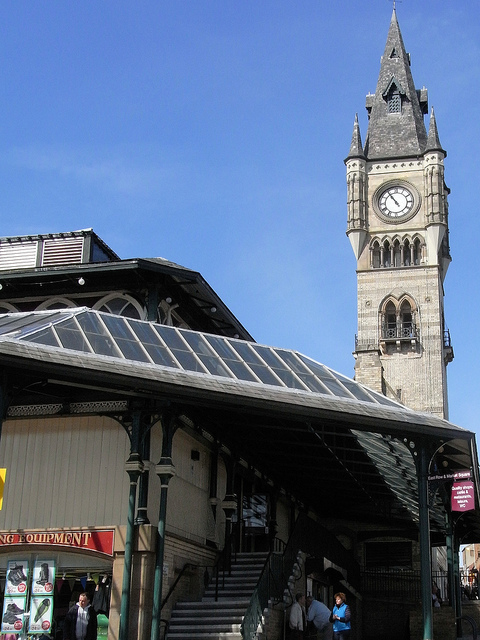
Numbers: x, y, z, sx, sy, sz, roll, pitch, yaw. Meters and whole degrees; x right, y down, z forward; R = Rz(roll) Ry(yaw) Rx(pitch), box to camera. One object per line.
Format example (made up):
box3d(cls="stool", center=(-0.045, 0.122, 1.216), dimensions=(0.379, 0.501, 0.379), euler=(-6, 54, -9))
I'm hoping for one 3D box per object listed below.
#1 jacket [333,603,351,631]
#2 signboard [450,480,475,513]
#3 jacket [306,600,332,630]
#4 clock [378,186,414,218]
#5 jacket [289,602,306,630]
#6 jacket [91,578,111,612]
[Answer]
box3d(cls="jacket", center=(1.916, 5.613, 19.276), dimensions=(0.355, 0.502, 0.282), euler=(-8, -20, 23))
box3d(cls="signboard", center=(5.062, 3.942, 22.957), dimensions=(0.385, 0.675, 0.811), euler=(10, -21, -26))
box3d(cls="jacket", center=(1.539, 5.765, 19.998), dimensions=(0.422, 0.655, 0.578), euler=(-19, -18, 33))
box3d(cls="clock", center=(10.427, -7.743, 67.380), dimensions=(2.071, 2.407, 0.258), euler=(1, -32, 13))
box3d(cls="jacket", center=(1.155, 5.988, 20.631), dimensions=(0.237, 0.521, 0.393), euler=(-1, -19, 7))
box3d(cls="jacket", center=(-2.658, 5.300, 19.643), dimensions=(0.422, 0.617, 0.310), euler=(-4, -19, 13))
